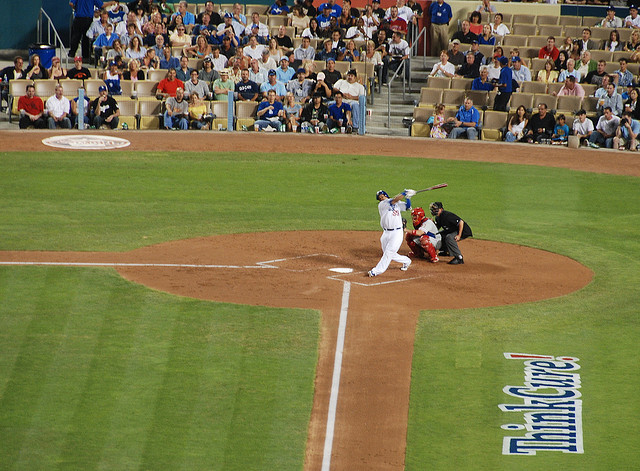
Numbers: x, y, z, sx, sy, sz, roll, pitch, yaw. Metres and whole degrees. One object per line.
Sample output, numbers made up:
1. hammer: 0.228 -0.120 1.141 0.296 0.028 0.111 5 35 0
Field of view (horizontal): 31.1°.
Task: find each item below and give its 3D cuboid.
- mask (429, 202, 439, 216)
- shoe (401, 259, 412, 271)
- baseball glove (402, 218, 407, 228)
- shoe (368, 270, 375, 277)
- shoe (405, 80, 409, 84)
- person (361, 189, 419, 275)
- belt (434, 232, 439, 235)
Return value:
1. mask: 2.824 -0.659 28.369 0.181 0.353 0.487 2 10 0
2. shoe: 2.081 0.675 27.781 0.218 0.303 0.492 3 10 5
3. baseball glove: 2.007 -0.310 27.224 0.060 0.173 0.125 3 11 16
4. shoe: 1.222 0.882 27.213 0.154 0.166 0.249 2 10 1
5. shoe: 3.282 -5.785 43.386 0.157 0.156 0.168 3 3 35
6. person: 1.964 -0.209 27.566 1.212 2.303 1.259 2 21 -19
7. belt: 2.881 -0.059 28.423 0.093 0.106 0.030 35 14 37
